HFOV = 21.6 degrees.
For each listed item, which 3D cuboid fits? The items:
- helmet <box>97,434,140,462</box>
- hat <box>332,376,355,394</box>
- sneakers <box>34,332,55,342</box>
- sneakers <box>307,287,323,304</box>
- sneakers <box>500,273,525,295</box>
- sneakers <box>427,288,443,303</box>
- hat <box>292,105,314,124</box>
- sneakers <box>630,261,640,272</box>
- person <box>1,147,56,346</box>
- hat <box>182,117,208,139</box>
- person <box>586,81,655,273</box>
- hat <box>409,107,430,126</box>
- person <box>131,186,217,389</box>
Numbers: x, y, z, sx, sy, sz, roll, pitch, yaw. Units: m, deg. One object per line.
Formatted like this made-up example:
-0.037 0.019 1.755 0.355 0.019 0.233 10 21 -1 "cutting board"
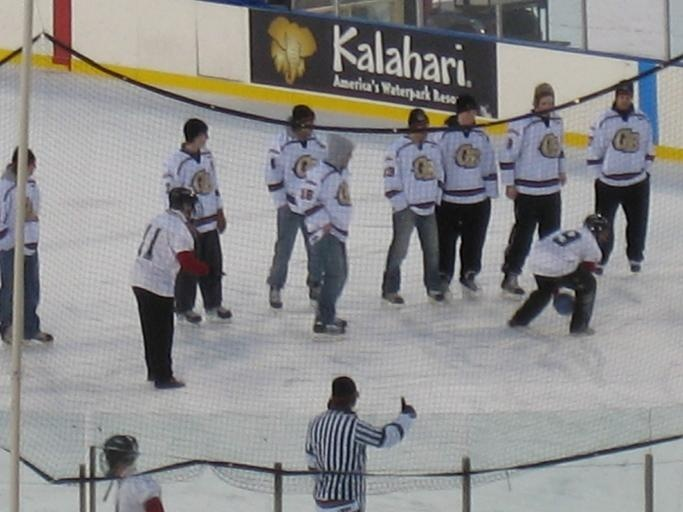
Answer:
-1.975 1.734 15.939 0.293 0.204 0.214 11 3 20 "helmet"
0.011 1.166 15.849 0.188 0.167 0.154 -2 9 -30 "hat"
-2.919 0.796 17.535 0.160 0.057 0.093 9 -1 -1 "sneakers"
-0.266 0.398 17.838 0.131 0.135 0.165 0 2 -3 "sneakers"
1.725 0.307 18.167 0.287 0.246 0.147 1 -4 18 "sneakers"
0.933 0.407 18.151 0.164 0.096 0.092 5 -30 2 "sneakers"
-0.381 -1.419 17.683 0.178 0.175 0.211 0 32 3 "hat"
3.053 0.115 18.742 0.113 0.105 0.104 0 4 2 "sneakers"
-3.082 -0.085 17.445 0.469 1.896 0.457 -3 10 -34 "person"
-1.418 -1.258 17.429 0.231 0.188 0.172 -5 -5 16 "hat"
2.834 -0.780 18.430 0.658 1.944 0.288 2 8 -2 "person"
0.756 -1.400 17.848 0.160 0.154 0.213 0 -5 -35 "hat"
-1.665 0.327 16.993 0.661 1.958 0.326 2 8 -5 "person"
